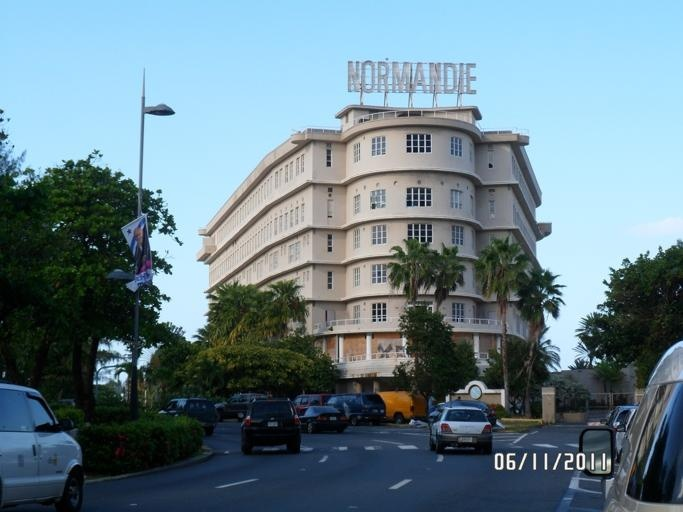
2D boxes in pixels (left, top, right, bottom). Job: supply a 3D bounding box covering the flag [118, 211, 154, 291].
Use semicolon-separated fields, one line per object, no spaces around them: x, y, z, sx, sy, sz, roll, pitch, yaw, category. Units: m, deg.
-7.719;-0.158;38.729;1.111;3.158;0.456;-24;43;-35;flag
